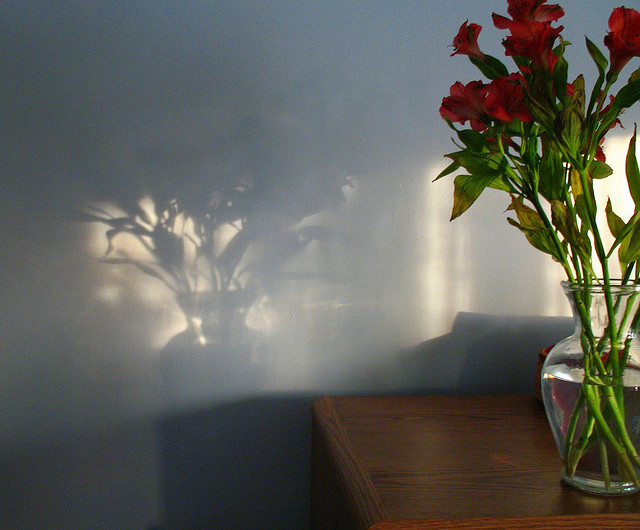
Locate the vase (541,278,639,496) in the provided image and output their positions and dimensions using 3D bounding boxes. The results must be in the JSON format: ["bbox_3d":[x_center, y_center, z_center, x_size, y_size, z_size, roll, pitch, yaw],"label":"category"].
[{"bbox_3d":[0.448,0.204,1.110,0.155,0.359,0.068,-2,4,18],"label":"vase"}]
